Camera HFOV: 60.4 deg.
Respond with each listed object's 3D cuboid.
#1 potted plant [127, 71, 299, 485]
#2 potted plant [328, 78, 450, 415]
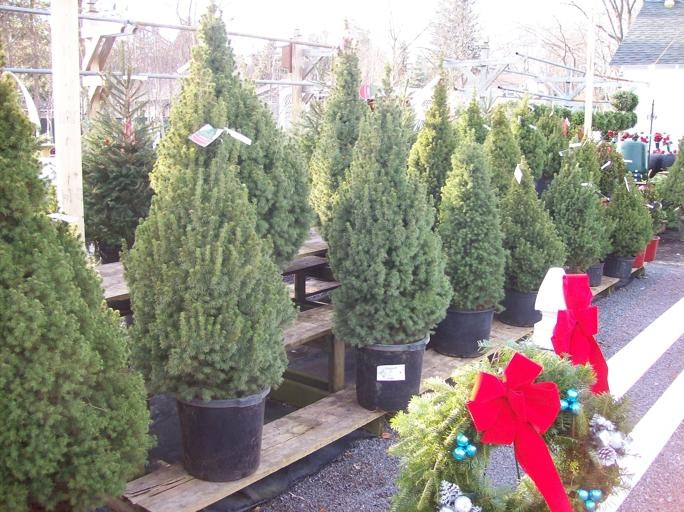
[{"bbox_3d":[-0.796,0.209,3.471,0.925,2.171,0.622,8,15,17],"label":"potted plant"},{"bbox_3d":[0.361,-0.016,4.438,0.963,2.240,0.689,6,14,12],"label":"potted plant"}]
